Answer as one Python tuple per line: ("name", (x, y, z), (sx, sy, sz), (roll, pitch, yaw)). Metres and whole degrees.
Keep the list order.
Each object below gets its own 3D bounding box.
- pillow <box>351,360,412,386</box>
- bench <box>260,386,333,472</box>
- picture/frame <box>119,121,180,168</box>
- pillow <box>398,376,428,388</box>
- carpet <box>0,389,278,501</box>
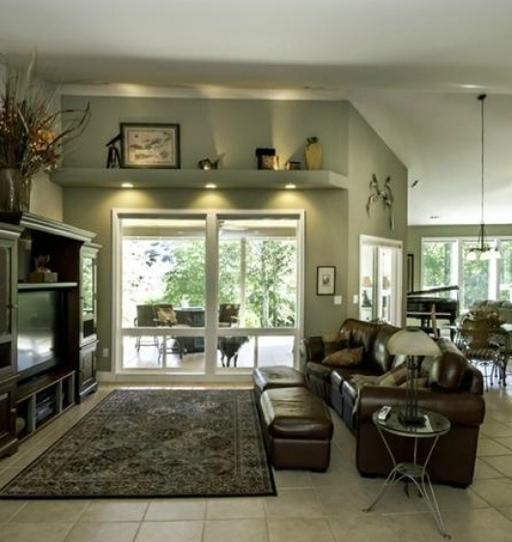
("pillow", (1.011, 0.864, 3.902), (0.359, 0.125, 0.350), (0, 3, 8))
("bench", (0.316, 1.117, 3.737), (0.412, 0.283, 0.747), (-1, 4, -2))
("picture/frame", (-1.359, -1.563, 6.133), (0.634, 0.493, 0.048), (-1, -2, -3))
("pillow", (1.214, 0.833, 3.652), (0.138, 0.044, 0.155), (-8, 2, -10))
("carpet", (-0.813, 1.457, 4.036), (1.891, 0.083, 1.632), (0, 5, 0))
